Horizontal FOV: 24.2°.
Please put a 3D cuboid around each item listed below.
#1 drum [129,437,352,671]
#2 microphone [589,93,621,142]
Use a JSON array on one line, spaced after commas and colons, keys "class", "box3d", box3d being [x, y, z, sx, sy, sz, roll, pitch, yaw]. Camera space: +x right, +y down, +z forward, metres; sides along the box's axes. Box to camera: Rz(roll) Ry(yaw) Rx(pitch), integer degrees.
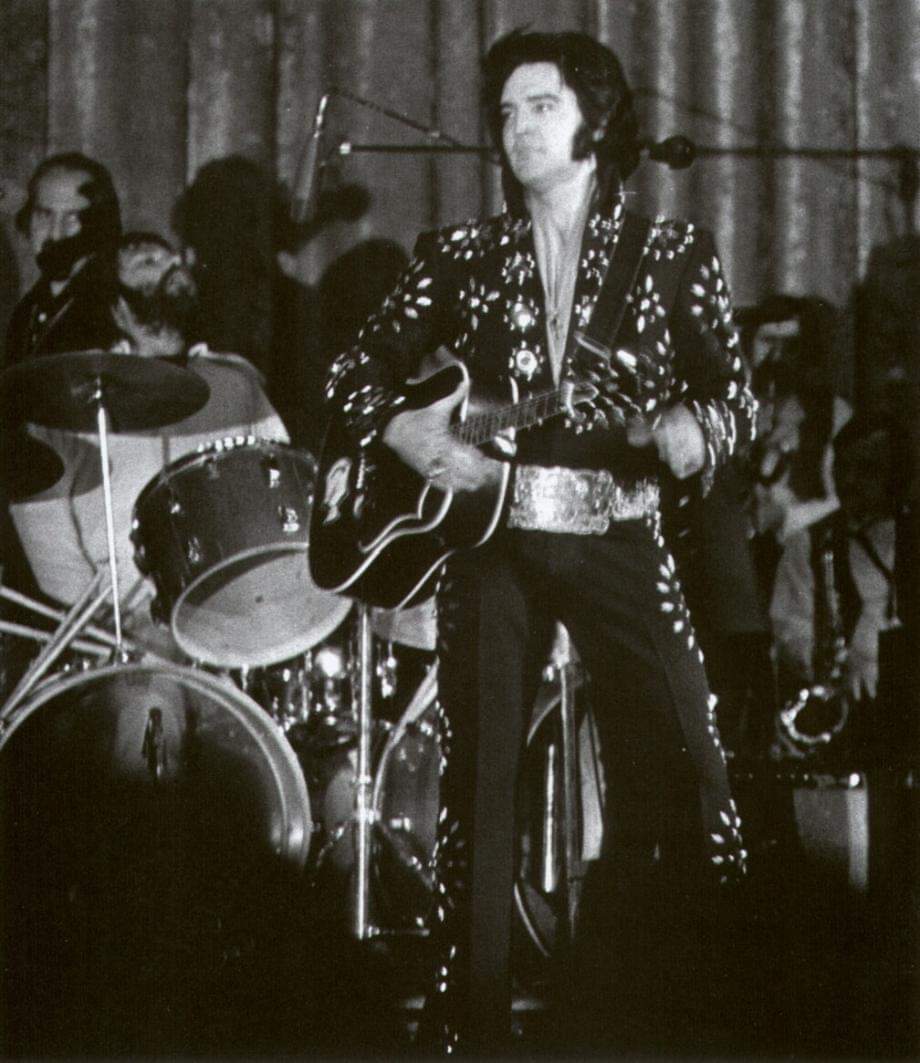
[{"class": "drum", "box3d": [-0.339, 0.027, 3.311, 0.294, 0.366, 0.278, 7, 38, -5]}, {"class": "microphone", "box3d": [0.207, -0.588, 3.054, 0.028, 0.070, 0.012, 9, 2, 5]}]
